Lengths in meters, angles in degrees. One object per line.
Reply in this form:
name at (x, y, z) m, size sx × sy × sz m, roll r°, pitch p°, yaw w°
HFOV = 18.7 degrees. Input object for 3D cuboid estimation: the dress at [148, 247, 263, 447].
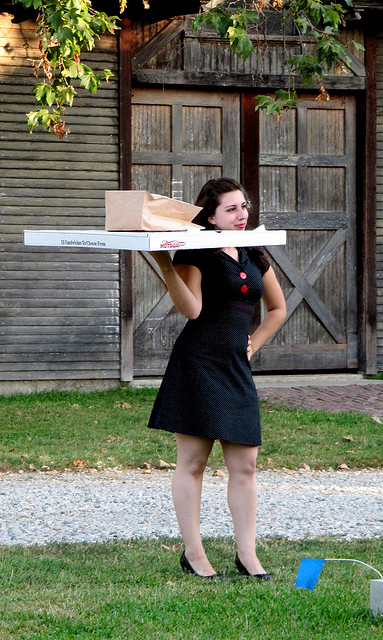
dress at (0.095, 0.171, 5.787) m, size 0.548 × 0.970 × 0.576 m, roll -1°, pitch 16°, yaw -22°

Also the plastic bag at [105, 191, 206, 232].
plastic bag at (-0.170, -0.491, 5.278) m, size 0.442 × 0.195 × 0.318 m, roll -2°, pitch 3°, yaw -7°
